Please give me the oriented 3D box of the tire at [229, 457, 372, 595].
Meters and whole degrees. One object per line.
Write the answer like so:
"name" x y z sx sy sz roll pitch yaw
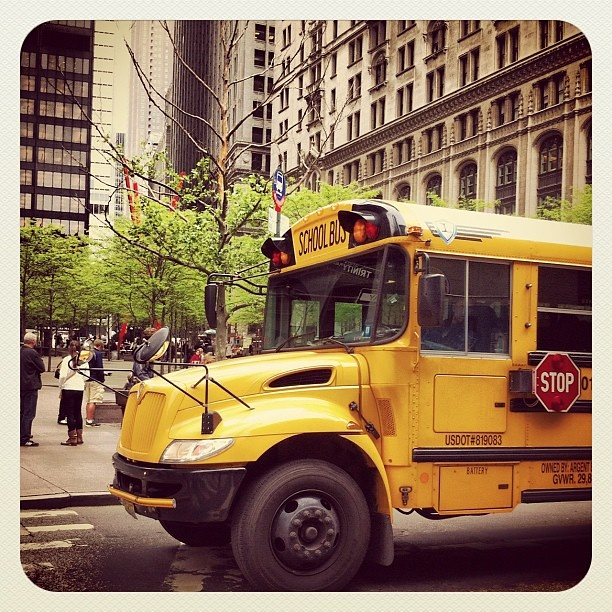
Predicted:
"tire" -0.058 1.603 6.603 1.008 1.007 0.422 7 -2 -11

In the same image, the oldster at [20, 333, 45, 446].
"oldster" -4.047 1.228 13.281 0.333 1.665 1.441 4 -3 -16

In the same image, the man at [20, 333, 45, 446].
"man" -4.047 1.228 13.282 0.333 1.665 1.441 4 -3 -16

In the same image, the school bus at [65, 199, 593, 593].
"school bus" 1.340 0.654 8.429 5.807 3.067 2.329 4 -4 -31
